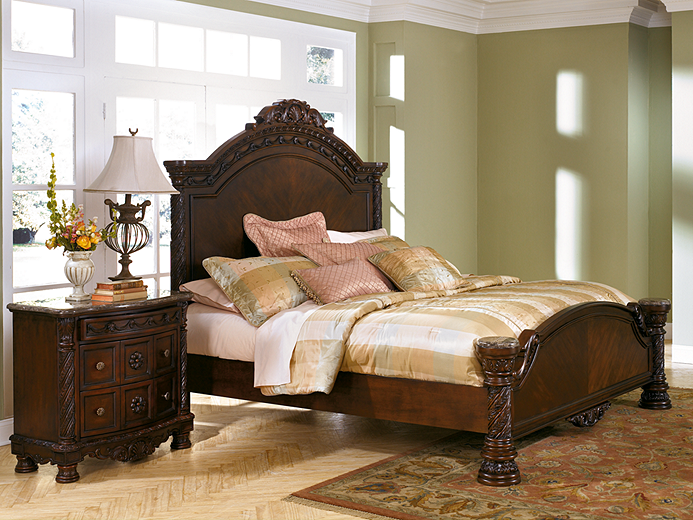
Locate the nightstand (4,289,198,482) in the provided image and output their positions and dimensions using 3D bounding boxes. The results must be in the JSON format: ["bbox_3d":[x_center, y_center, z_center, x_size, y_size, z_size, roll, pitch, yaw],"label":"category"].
[{"bbox_3d":[-1.312,0.670,3.616,0.954,0.911,0.409,-3,2,-32],"label":"nightstand"}]

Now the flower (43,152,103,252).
[{"bbox_3d":[-1.593,-0.339,3.803,0.283,0.578,0.677,-2,2,-24],"label":"flower"}]

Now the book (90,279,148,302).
[{"bbox_3d":[-1.266,0.145,3.640,0.142,0.076,0.233,5,7,36],"label":"book"}]
